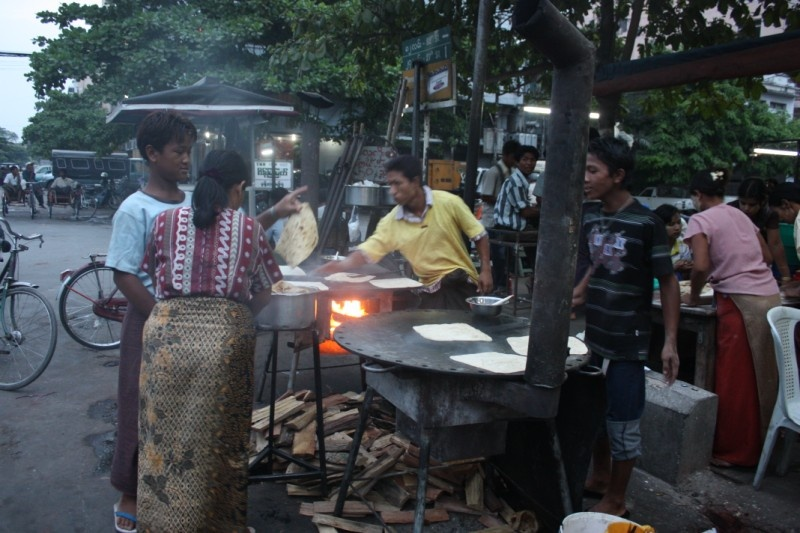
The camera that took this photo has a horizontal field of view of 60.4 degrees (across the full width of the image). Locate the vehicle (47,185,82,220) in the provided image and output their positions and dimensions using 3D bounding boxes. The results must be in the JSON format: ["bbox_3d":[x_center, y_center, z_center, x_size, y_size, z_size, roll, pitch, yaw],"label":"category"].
[{"bbox_3d":[-10.704,-2.090,21.857,1.028,0.866,1.680,-4,0,-35],"label":"vehicle"}]

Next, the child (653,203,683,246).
[{"bbox_3d":[3.103,-0.476,7.879,0.276,0.436,0.347,-9,13,-2],"label":"child"}]

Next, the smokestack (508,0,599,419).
[{"bbox_3d":[1.032,-0.351,4.770,0.541,2.850,0.200,1,7,3],"label":"smokestack"}]

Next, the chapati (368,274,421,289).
[{"bbox_3d":[-0.065,0.177,6.721,0.473,0.067,0.494,3,6,16],"label":"chapati"}]

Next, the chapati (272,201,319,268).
[{"bbox_3d":[-0.855,-0.255,5.781,0.120,0.481,0.503,15,30,-49],"label":"chapati"}]

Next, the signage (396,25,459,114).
[{"bbox_3d":[0.343,-2.525,8.849,0.428,0.956,1.074,-3,8,-30],"label":"signage"}]

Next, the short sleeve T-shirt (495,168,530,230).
[{"bbox_3d":[1.630,-0.954,9.917,0.484,0.887,0.881,-1,9,4],"label":"short sleeve T-shirt"}]

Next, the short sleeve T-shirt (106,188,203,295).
[{"bbox_3d":[-1.843,-0.182,5.219,0.307,0.701,0.867,14,13,34],"label":"short sleeve T-shirt"}]

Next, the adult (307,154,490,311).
[{"bbox_3d":[0.260,-0.333,7.031,1.367,1.571,0.404,1,7,-3],"label":"adult"}]

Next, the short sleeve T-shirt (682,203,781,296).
[{"bbox_3d":[3.201,-0.161,6.639,0.840,0.876,0.492,-9,2,-23],"label":"short sleeve T-shirt"}]
